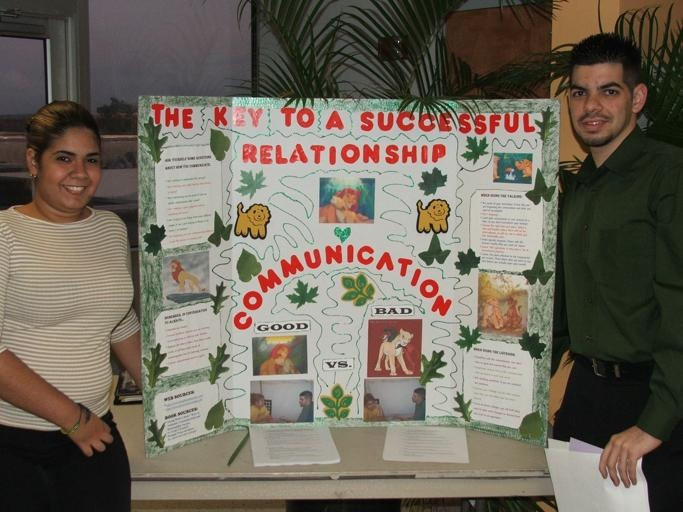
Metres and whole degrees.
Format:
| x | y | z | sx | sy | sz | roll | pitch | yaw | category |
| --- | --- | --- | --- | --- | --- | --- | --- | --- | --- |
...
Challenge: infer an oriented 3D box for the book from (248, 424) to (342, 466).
| x | y | z | sx | sy | sz | roll | pitch | yaw | category |
| --- | --- | --- | --- | --- | --- | --- | --- | --- | --- |
| -0.159 | 0.611 | 2.196 | 0.296 | 0.050 | 0.190 | 0 | 14 | -4 | book |

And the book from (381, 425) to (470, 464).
| x | y | z | sx | sy | sz | roll | pitch | yaw | category |
| --- | --- | --- | --- | --- | --- | --- | --- | --- | --- |
| 0.272 | 0.615 | 2.220 | 0.275 | 0.038 | 0.188 | 2 | 14 | 3 | book |

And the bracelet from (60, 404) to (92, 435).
| x | y | z | sx | sy | sz | roll | pitch | yaw | category |
| --- | --- | --- | --- | --- | --- | --- | --- | --- | --- |
| -0.767 | 0.482 | 1.976 | 0.042 | 0.086 | 0.071 | 22 | -16 | -4 | bracelet |
